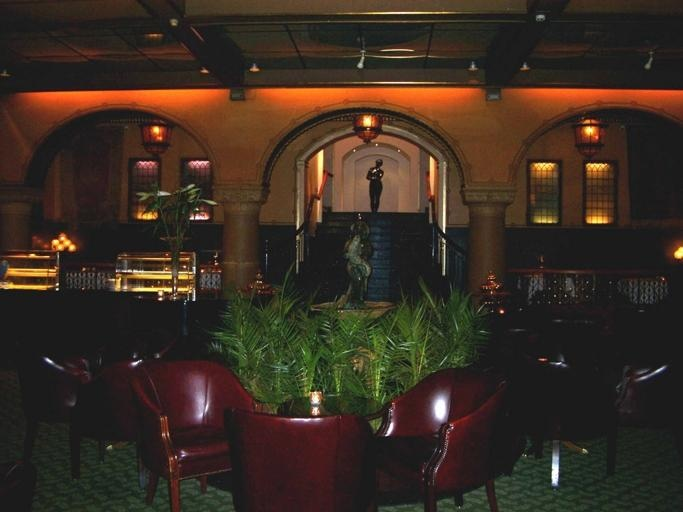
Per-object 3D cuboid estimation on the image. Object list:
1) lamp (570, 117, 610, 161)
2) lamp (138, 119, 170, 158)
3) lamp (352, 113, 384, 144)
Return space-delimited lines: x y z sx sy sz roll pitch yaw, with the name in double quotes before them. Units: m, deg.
"lamp" 5.059 -2.381 15.425 0.696 1.061 0.832 0 -1 7
"lamp" -3.575 -2.254 14.203 0.507 0.642 0.550 0 -1 0
"lamp" 0.477 -2.362 13.715 0.385 0.489 0.420 -1 -4 6
